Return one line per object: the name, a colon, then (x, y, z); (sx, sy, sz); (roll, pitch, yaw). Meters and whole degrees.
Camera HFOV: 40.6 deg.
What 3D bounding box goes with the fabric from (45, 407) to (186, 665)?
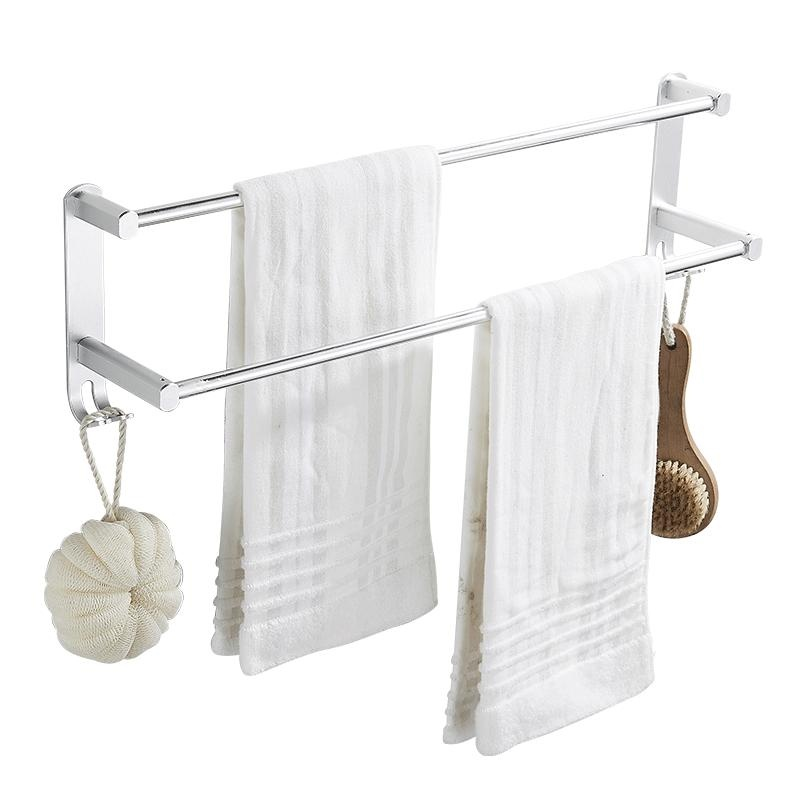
fabric: (-0.290, 0.141, 1.117); (0.134, 0.068, 0.263); (-5, -88, -37)
